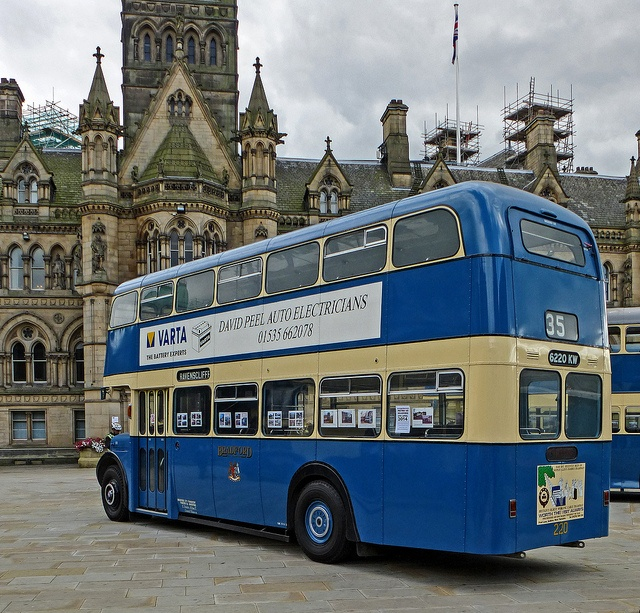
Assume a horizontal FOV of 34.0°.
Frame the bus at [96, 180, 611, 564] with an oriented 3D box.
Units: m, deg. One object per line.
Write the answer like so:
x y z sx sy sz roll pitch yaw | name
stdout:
-0.188 1.189 18.277 10.294 5.736 2.928 -2 -3 41 | bus
